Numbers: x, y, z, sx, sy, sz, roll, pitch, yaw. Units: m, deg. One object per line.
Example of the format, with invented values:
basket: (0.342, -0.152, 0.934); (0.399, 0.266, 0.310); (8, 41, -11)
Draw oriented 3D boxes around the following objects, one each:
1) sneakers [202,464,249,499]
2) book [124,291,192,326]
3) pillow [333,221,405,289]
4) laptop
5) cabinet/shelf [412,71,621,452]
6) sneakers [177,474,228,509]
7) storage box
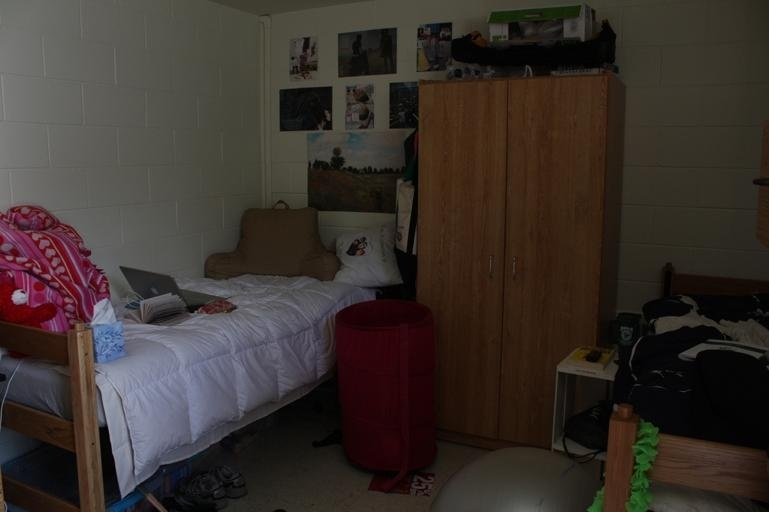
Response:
sneakers: (-0.954, 1.299, 3.067); (0.077, 0.156, 0.218); (-32, 1, -24)
book: (-1.358, 0.319, 3.179); (0.223, 0.118, 0.221); (1, 3, 31)
pillow: (-0.150, 0.016, 3.933); (0.469, 0.476, 0.142); (-15, -27, 13)
laptop: (-1.357, 0.206, 3.365); (0.259, 0.383, 0.430); (-27, -10, 12)
cabinet/shelf: (0.777, 0.068, 3.408); (1.120, 2.303, 0.551); (1, 15, 8)
sneakers: (-0.997, 1.296, 2.929); (0.287, 0.146, 0.113); (12, 9, -9)
storage box: (0.991, -1.462, 3.388); (0.640, 0.212, 0.135); (1, 15, 11)
